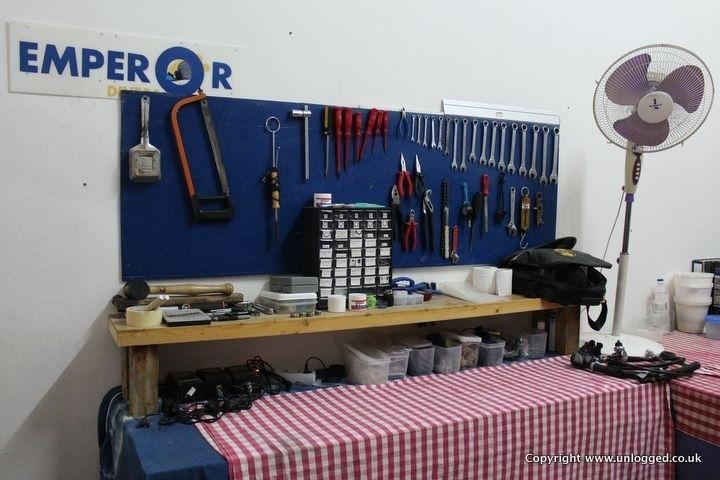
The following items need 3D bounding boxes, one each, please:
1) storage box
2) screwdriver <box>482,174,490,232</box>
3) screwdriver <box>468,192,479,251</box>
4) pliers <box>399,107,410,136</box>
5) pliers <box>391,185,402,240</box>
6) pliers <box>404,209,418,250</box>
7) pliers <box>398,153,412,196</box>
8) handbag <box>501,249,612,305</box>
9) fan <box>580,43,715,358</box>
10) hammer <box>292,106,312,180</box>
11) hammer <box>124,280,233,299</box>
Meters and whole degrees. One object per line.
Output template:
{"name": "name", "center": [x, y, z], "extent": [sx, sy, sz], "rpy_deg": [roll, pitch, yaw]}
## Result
{"name": "storage box", "center": [0.502, 0.722, 3.742], "extent": [1.155, 0.305, 0.223], "rpy_deg": [-1, 1, -24]}
{"name": "screwdriver", "center": [0.877, -0.250, 4.108], "extent": [0.078, 0.405, 0.040], "rpy_deg": [-4, 7, -30]}
{"name": "screwdriver", "center": [0.776, -0.123, 4.069], "extent": [0.066, 0.392, 0.047], "rpy_deg": [2, 9, -15]}
{"name": "pliers", "center": [0.289, -0.770, 3.894], "extent": [0.046, 0.196, 0.067], "rpy_deg": [6, 9, 43]}
{"name": "pliers", "center": [0.245, -0.179, 3.891], "extent": [0.086, 0.362, 0.041], "rpy_deg": [-1, 6, -5]}
{"name": "pliers", "center": [0.347, -0.065, 3.923], "extent": [0.111, 0.277, 0.047], "rpy_deg": [-5, 8, -35]}
{"name": "pliers", "center": [0.300, -0.425, 3.896], "extent": [0.103, 0.278, 0.054], "rpy_deg": [0, 6, 3]}
{"name": "handbag", "center": [1.286, 0.182, 4.050], "extent": [0.647, 0.371, 0.618], "rpy_deg": [0, 7, -24]}
{"name": "fan", "center": [1.934, -0.281, 3.977], "extent": [0.720, 2.035, 0.449], "rpy_deg": [2, 7, 23]}
{"name": "hammer", "center": [-0.362, -0.605, 3.687], "extent": [0.123, 0.463, 0.048], "rpy_deg": [-1, 6, -10]}
{"name": "hammer", "center": [-1.051, 0.254, 3.403], "extent": [0.380, 0.120, 0.470], "rpy_deg": [9, 6, 43]}
